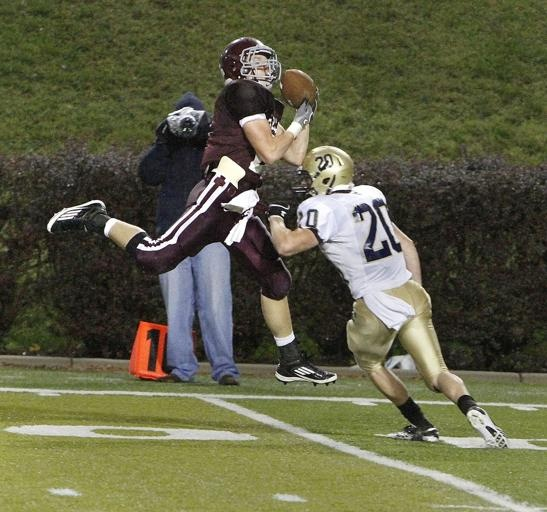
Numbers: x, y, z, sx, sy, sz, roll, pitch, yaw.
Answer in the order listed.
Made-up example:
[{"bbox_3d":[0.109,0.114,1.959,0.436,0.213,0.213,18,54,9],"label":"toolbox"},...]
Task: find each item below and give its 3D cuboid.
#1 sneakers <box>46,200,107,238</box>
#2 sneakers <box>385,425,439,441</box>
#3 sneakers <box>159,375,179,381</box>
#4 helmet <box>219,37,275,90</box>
[{"bbox_3d":[-1.302,-0.231,7.483,0.599,0.154,0.236,-7,27,-4],"label":"sneakers"},{"bbox_3d":[0.882,1.109,6.718,0.354,0.099,0.104,4,65,8],"label":"sneakers"},{"bbox_3d":[-0.848,1.018,8.985,0.178,0.052,0.060,5,56,8],"label":"sneakers"},{"bbox_3d":[-0.065,-1.291,7.271,0.469,0.282,0.318,3,6,17],"label":"helmet"}]
